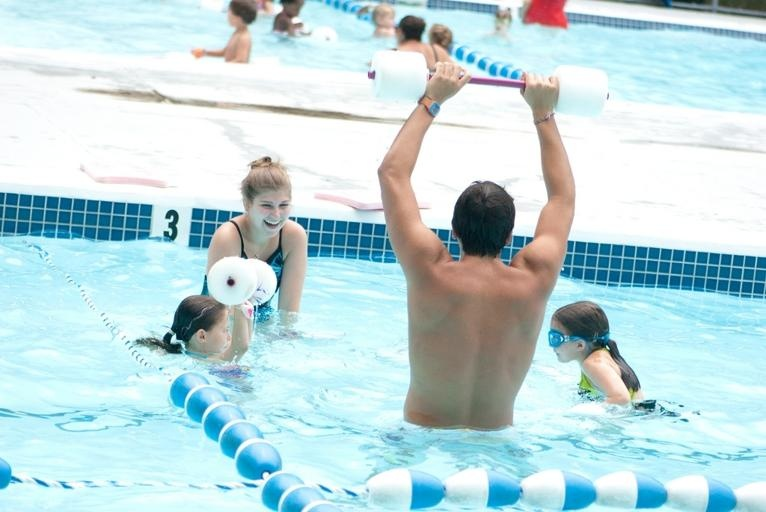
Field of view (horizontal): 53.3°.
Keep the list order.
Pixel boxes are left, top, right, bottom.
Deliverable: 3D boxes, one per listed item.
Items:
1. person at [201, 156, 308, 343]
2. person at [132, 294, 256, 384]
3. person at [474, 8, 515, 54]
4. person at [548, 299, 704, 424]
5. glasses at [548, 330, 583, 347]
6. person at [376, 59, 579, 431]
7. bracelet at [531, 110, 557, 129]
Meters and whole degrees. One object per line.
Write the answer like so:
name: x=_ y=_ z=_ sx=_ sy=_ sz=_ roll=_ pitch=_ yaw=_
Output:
person: x=-0.765 y=-0.064 z=4.985 sx=0.660 sy=1.138 sz=0.398 roll=-4 pitch=16 yaw=-39
person: x=-1.068 y=0.457 z=4.653 sx=0.845 sy=0.559 sz=0.466 roll=-6 pitch=-8 yaw=8
person: x=2.099 y=-4.145 z=14.017 sx=0.585 sy=0.746 sz=0.943 roll=7 pitch=11 yaw=5
person: x=1.388 y=0.717 z=4.606 sx=0.820 sy=0.869 sz=0.481 roll=-3 pitch=20 yaw=-2
glasses: x=1.072 y=0.480 z=4.514 sx=0.147 sy=0.064 sz=0.110 roll=2 pitch=3 yaw=5
person: x=0.399 y=0.089 z=3.675 sx=0.917 sy=1.475 sz=0.410 roll=7 pitch=12 yaw=5
bracelet: x=0.798 y=-0.673 z=3.772 sx=0.089 sy=0.033 sz=0.077 roll=-27 pitch=0 yaw=11
